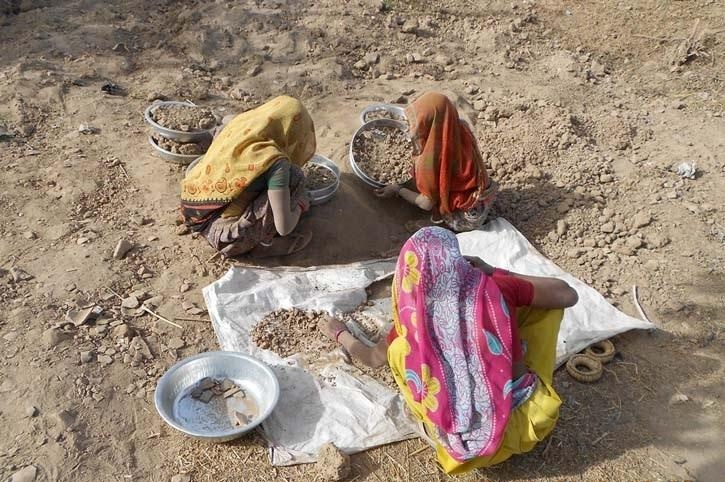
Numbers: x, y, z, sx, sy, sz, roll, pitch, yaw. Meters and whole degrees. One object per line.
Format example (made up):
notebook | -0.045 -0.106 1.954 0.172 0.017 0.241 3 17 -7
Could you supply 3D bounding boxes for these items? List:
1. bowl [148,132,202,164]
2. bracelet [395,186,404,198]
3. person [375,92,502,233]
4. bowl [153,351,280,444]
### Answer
bowl | -2.059 -0.967 7.573 0.407 0.099 0.397 8 40 -7
bracelet | 0.402 -0.555 7.594 0.035 0.082 0.093 2 88 -17
person | 0.763 -0.932 7.555 1.317 1.564 1.140 13 46 23
bowl | -1.232 1.293 5.984 1.013 0.310 0.748 -2 66 3
